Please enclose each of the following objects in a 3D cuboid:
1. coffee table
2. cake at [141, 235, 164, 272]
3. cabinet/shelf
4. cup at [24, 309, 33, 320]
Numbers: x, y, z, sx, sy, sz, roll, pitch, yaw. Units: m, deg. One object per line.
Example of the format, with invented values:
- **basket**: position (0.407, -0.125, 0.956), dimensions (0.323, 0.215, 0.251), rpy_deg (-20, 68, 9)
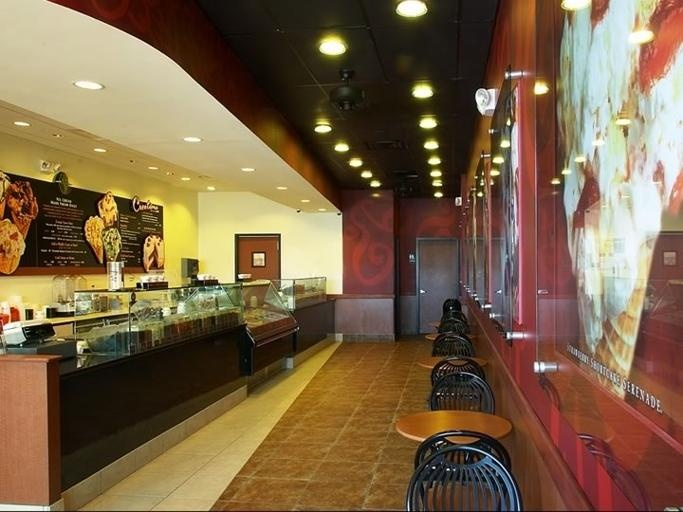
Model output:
- **coffee table**: position (0.670, 1.025, 2.863), dimensions (0.565, 0.141, 0.602), rpy_deg (2, -8, 27)
- **cake**: position (-3.304, -0.051, 8.781), dimensions (0.126, 0.495, 0.340), rpy_deg (1, 1, 26)
- **cabinet/shelf**: position (-0.959, 1.010, 6.385), dimensions (0.515, 1.373, 2.042), rpy_deg (0, -1, 4)
- **cup**: position (-3.765, 0.701, 6.004), dimensions (0.093, 0.129, 0.141), rpy_deg (0, -1, -28)
